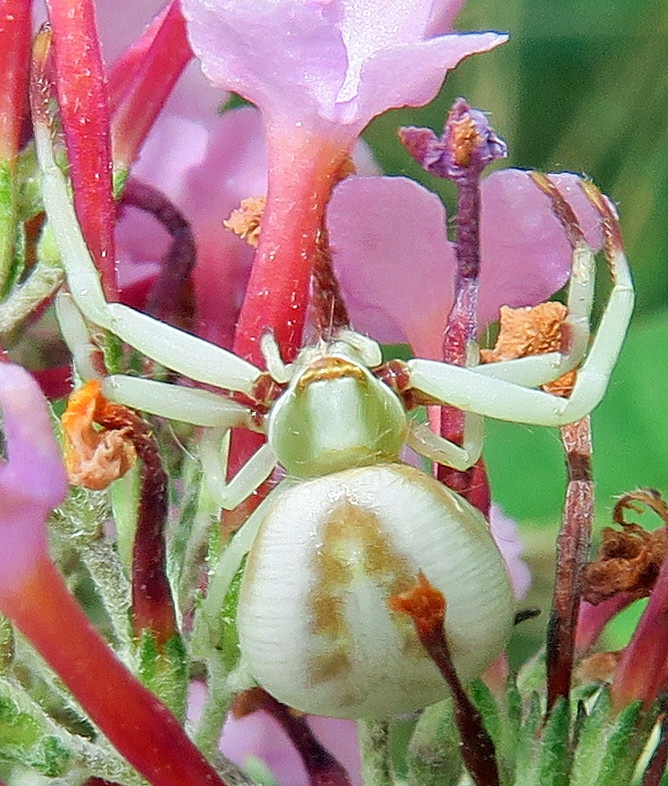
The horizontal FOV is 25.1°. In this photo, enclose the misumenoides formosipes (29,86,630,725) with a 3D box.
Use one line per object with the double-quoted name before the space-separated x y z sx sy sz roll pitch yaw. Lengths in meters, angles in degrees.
"misumenoides formosipes" -0.016 0.001 0.578 0.243 0.196 0.194 7 34 12
